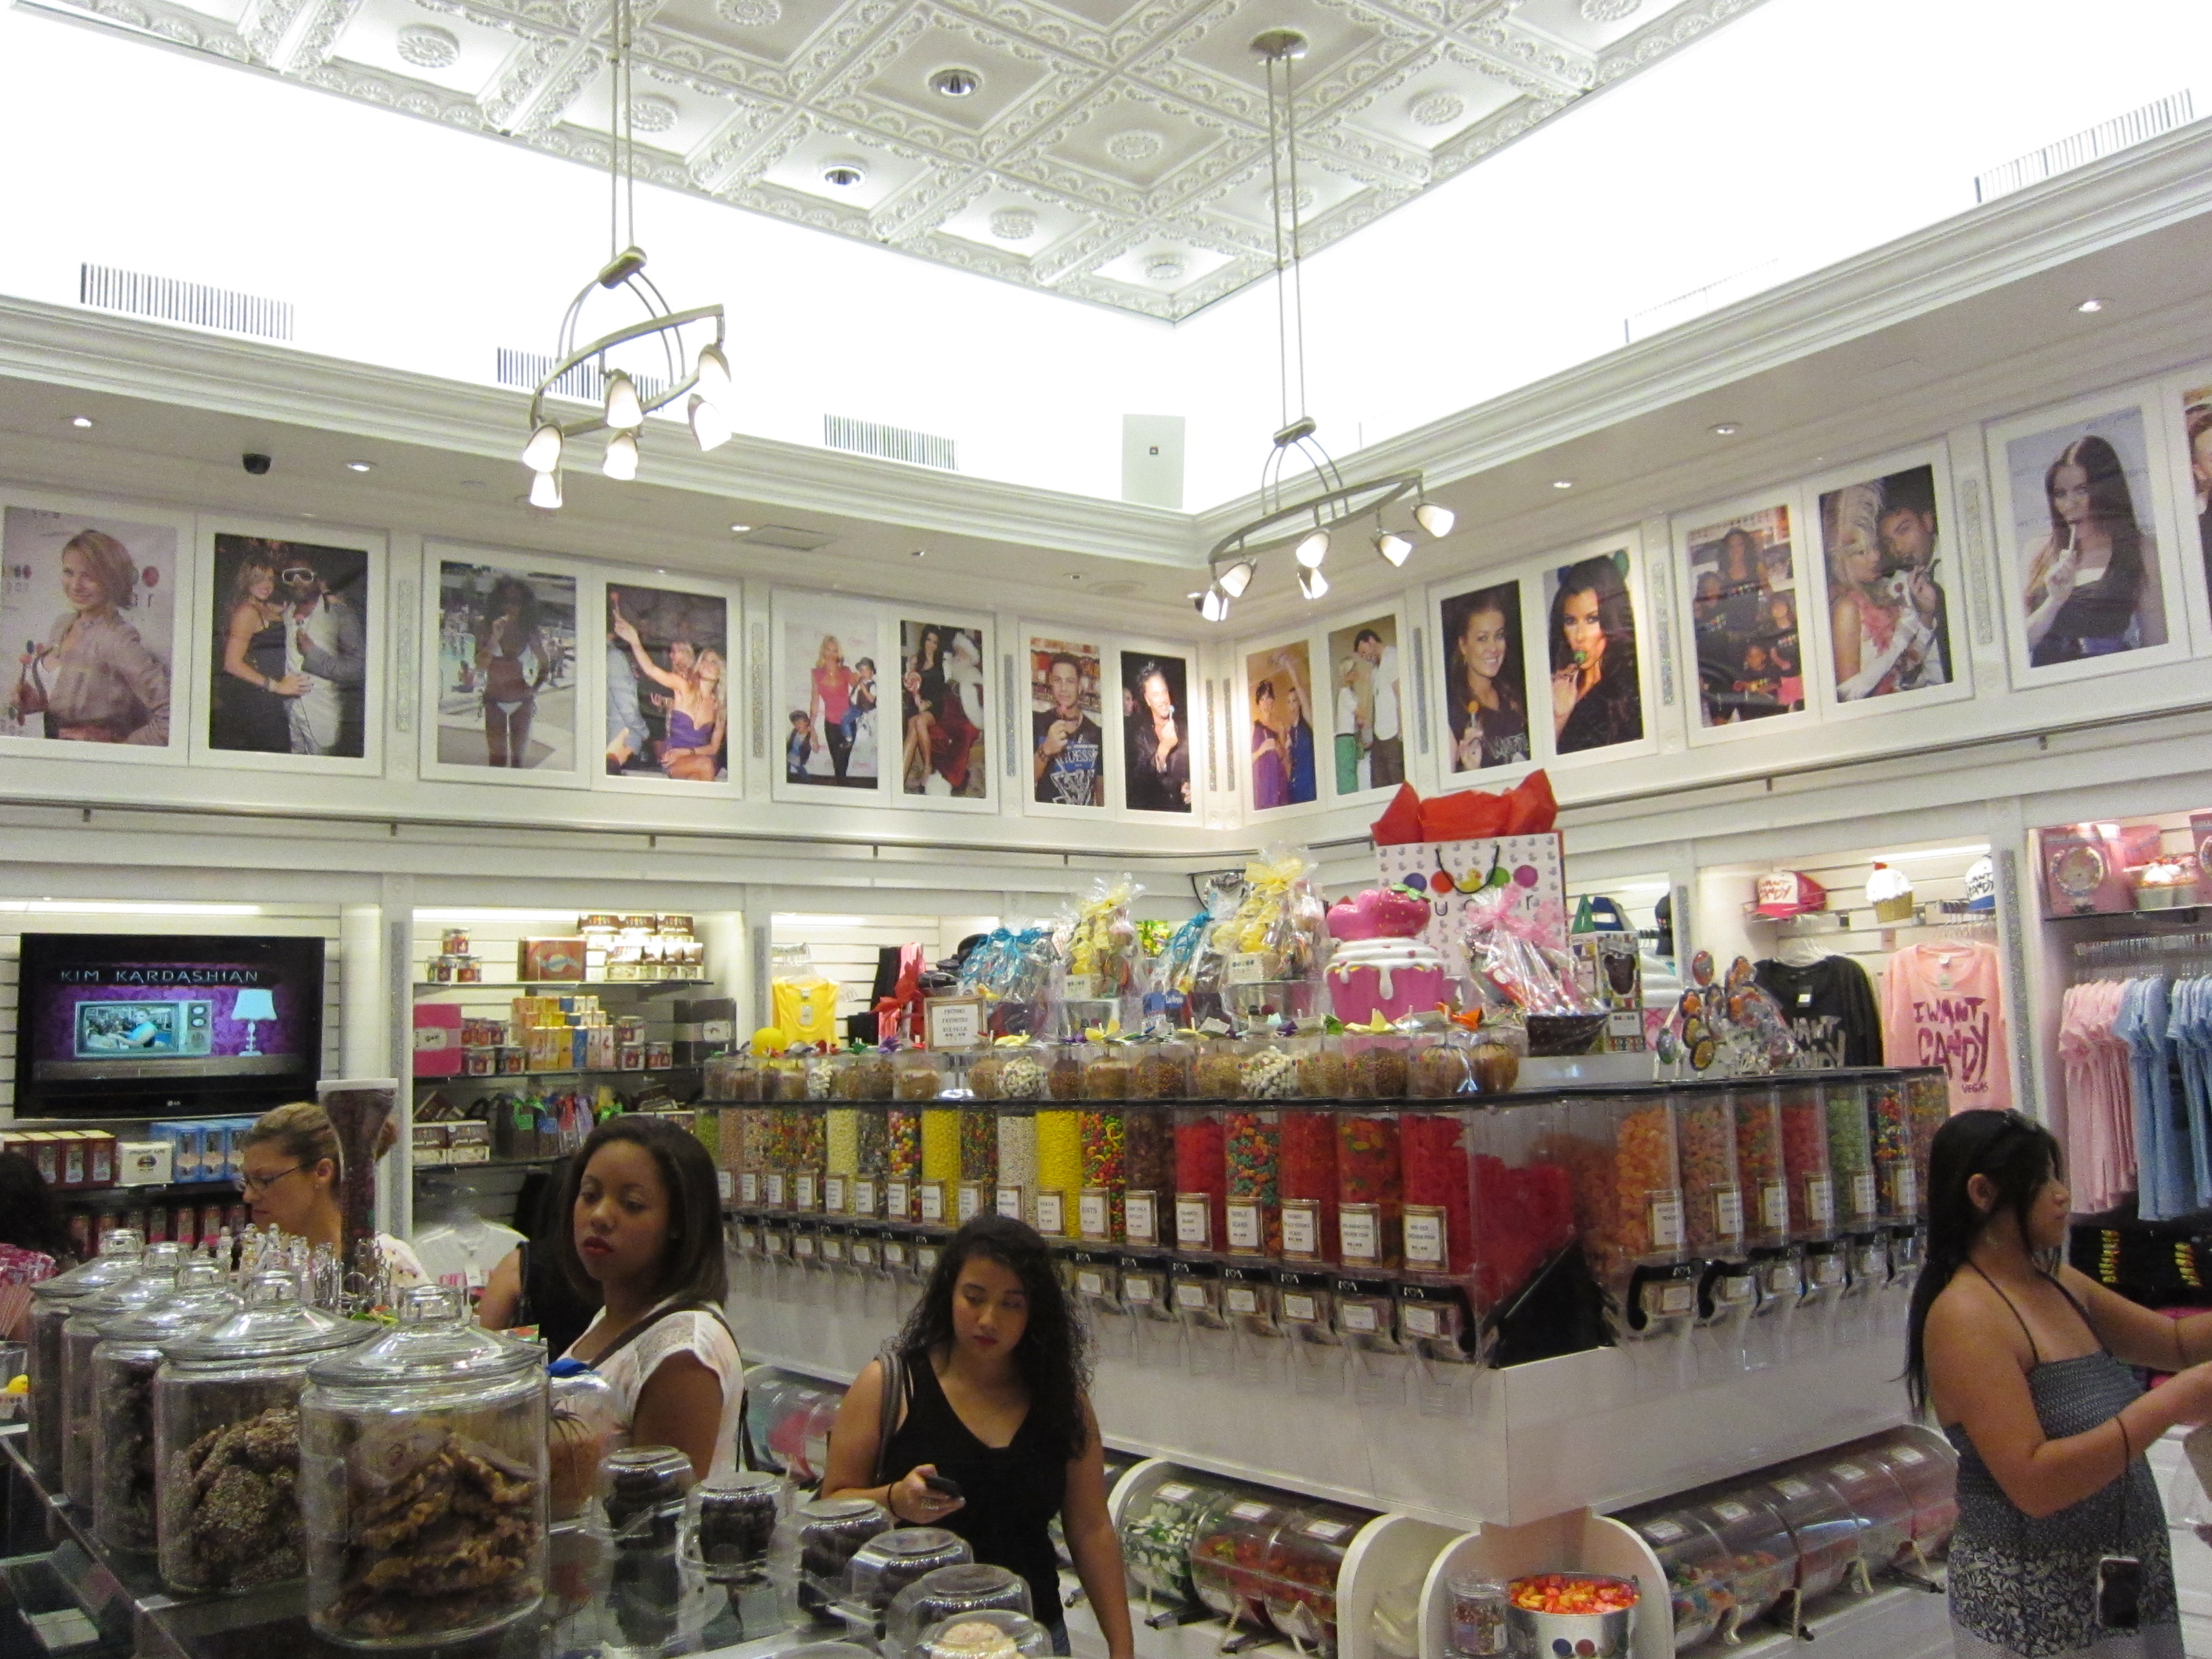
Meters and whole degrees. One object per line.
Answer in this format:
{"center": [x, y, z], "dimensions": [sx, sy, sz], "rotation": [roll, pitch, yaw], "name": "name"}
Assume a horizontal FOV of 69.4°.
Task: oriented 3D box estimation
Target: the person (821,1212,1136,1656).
{"center": [-0.290, 1.335, 3.429], "dimensions": [0.622, 0.959, 0.289], "rotation": [-2, -6, -12], "name": "person"}

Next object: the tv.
{"center": [-4.364, 0.901, 7.330], "dimensions": [0.922, 0.658, 0.080], "rotation": [3, -10, -33], "name": "tv"}

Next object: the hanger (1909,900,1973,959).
{"center": [4.122, 0.482, 7.872], "dimensions": [0.405, 0.284, 0.488], "rotation": [-6, -6, 27], "name": "hanger"}
